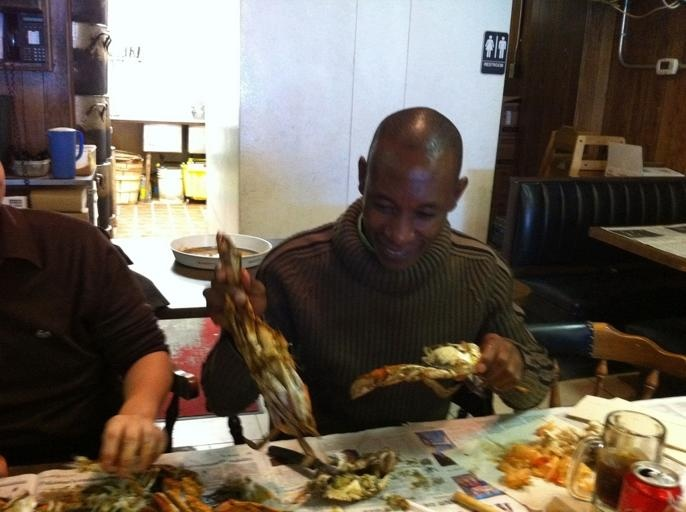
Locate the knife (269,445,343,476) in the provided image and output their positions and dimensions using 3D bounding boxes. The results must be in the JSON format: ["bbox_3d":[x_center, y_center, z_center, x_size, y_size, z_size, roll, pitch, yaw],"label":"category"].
[{"bbox_3d":[-0.082,0.455,1.084,0.093,0.021,0.019,15,36,21],"label":"knife"}]

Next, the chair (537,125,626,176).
[{"bbox_3d":[2.192,-0.943,4.422,0.696,0.502,0.556,9,30,11],"label":"chair"}]

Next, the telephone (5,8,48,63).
[{"bbox_3d":[-2.371,-1.658,3.657,0.380,0.348,0.198,1,22,-9],"label":"telephone"}]
